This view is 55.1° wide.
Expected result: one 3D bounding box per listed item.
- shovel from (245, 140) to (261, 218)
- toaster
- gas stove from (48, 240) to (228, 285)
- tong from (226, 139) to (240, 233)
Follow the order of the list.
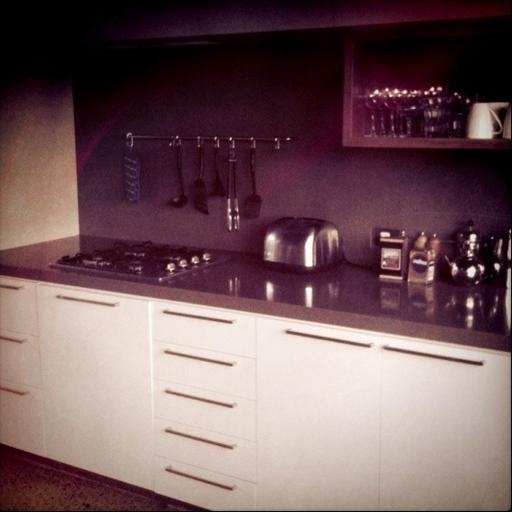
[{"bbox_3d":[-0.020,-0.372,2.368,0.093,0.380,0.057,0,5,12],"label":"shovel"},{"bbox_3d":[0.193,-0.044,2.024,0.320,0.188,0.187,0,6,6],"label":"toaster"},{"bbox_3d":[-0.511,0.031,2.178,0.622,0.036,0.605,5,12,25],"label":"gas stove"},{"bbox_3d":[-0.123,-0.348,2.411,0.072,0.457,0.064,1,6,21],"label":"tong"}]
